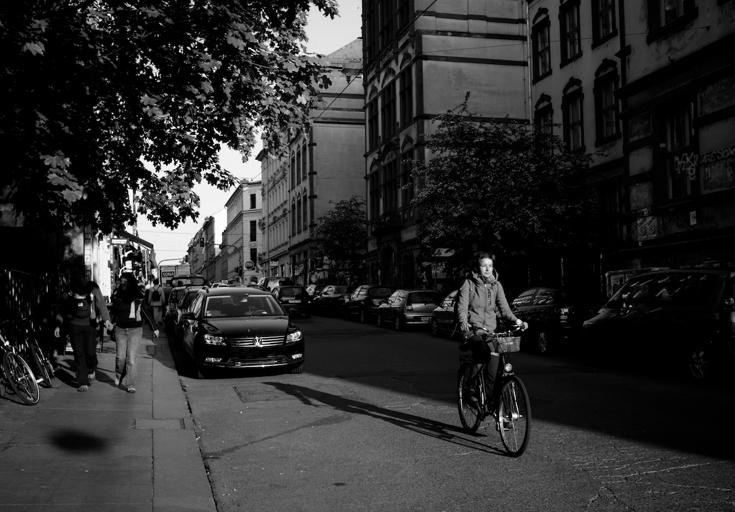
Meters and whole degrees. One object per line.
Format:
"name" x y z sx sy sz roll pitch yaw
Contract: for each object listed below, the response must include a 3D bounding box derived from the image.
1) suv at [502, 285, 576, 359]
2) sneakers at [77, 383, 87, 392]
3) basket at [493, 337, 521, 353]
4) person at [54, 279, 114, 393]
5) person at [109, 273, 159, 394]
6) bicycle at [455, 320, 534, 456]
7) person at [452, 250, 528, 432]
"suv" 4.307 1.554 18.639 0.875 0.950 2.060 -1 3 -8
"sneakers" -4.993 2.298 13.267 0.179 0.113 0.336 -1 -5 -22
"basket" 1.828 1.143 9.851 0.281 0.211 0.200 -2 0 11
"person" -5.085 1.392 13.560 0.854 1.964 1.211 -1 -3 -23
"person" -4.277 1.335 13.763 0.724 2.144 1.052 -1 -3 -20
"bicycle" 1.647 1.735 9.914 0.638 1.583 1.694 -1 -4 -14
"person" 1.547 0.970 10.221 0.878 2.010 0.922 -8 12 -31
